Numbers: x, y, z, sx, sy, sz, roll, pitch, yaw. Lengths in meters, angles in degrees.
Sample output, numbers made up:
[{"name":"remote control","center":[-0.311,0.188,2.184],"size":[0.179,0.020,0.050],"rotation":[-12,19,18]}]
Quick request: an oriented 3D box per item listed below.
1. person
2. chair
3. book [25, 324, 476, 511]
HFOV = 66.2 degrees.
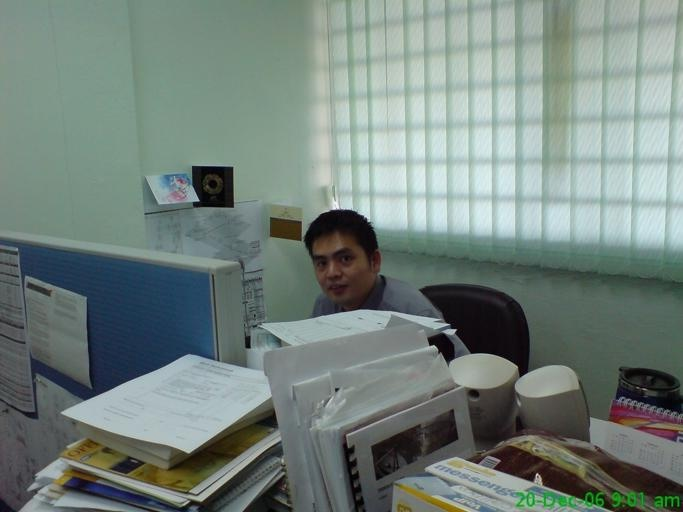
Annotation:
[{"name":"person","center":[0.078,0.124,2.021],"size":[0.703,0.633,0.376],"rotation":[-4,10,40]},{"name":"chair","center":[0.522,0.252,1.933],"size":[0.324,0.414,0.332],"rotation":[0,12,27]},{"name":"book","center":[-0.124,0.311,0.982],"size":[0.566,0.183,0.433],"rotation":[-10,15,2]}]
